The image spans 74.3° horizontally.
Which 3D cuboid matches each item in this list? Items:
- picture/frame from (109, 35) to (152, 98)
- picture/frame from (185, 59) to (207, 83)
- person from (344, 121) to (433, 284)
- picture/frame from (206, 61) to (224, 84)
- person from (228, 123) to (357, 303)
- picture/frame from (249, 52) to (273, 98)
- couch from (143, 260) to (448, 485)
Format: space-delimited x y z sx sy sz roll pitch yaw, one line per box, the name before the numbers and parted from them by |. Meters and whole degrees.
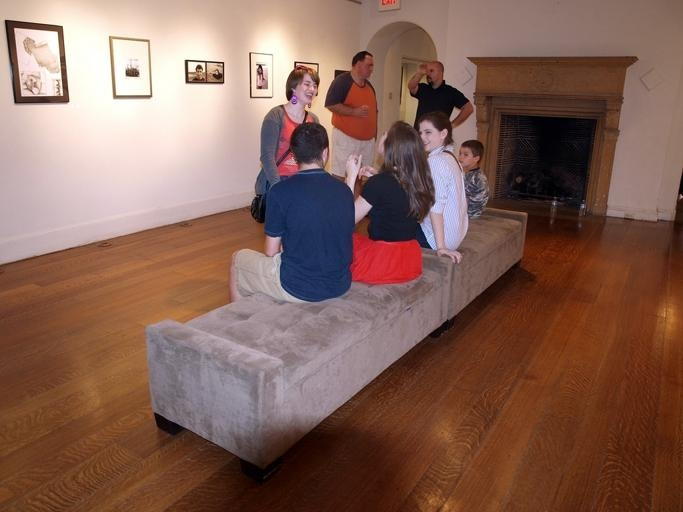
picture/frame | -2.527 -2.250 5.344 0.032 0.842 0.665 11 18 34
picture/frame | -1.970 -2.474 6.035 0.031 0.251 0.314 9 18 28
person | 0.295 -0.417 3.338 0.760 1.075 0.549 20 26 39
picture/frame | -1.768 -2.551 6.293 0.038 0.290 0.318 11 20 29
person | -0.305 -0.064 2.969 0.861 1.494 0.664 10 12 44
picture/frame | -1.247 -2.775 6.875 0.044 0.740 0.581 8 16 33
couch | -0.237 0.590 2.706 1.596 0.635 0.762 -14 24 -40
